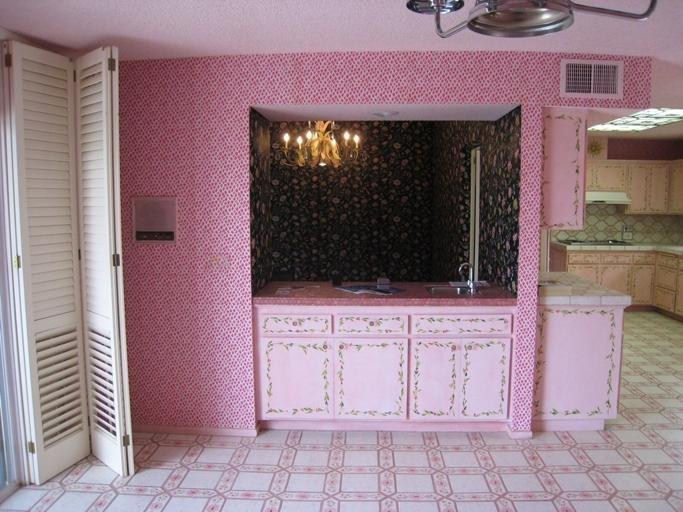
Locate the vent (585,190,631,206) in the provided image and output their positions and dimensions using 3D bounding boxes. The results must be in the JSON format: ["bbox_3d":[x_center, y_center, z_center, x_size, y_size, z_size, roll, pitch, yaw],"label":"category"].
[{"bbox_3d":[4.134,-0.897,8.868,0.748,0.229,0.425,-1,7,0],"label":"vent"}]

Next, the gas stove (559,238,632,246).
[{"bbox_3d":[4.019,-0.210,8.916,1.089,0.064,0.567,0,7,6],"label":"gas stove"}]

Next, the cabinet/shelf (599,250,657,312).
[{"bbox_3d":[3.993,0.282,7.901,1.136,0.876,0.423,0,3,2],"label":"cabinet/shelf"}]

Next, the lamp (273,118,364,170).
[{"bbox_3d":[-0.209,-1.287,6.671,1.025,0.506,0.977,1,-2,17],"label":"lamp"}]

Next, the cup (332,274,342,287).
[{"bbox_3d":[-0.030,0.244,5.425,0.116,0.106,0.104,2,9,5],"label":"cup"}]
